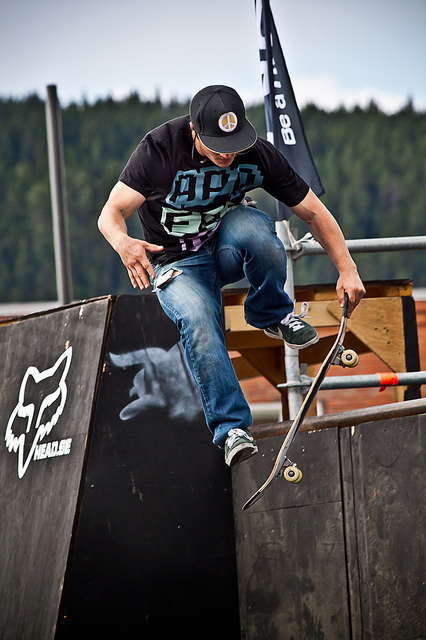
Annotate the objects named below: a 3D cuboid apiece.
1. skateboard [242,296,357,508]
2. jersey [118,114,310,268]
[{"bbox_3d":[0.456,0.404,5.164,0.243,0.326,1.464,25,70,16],"label":"skateboard"},{"bbox_3d":[-0.011,-0.624,4.528,0.832,0.688,0.301,-10,16,-5],"label":"jersey"}]
